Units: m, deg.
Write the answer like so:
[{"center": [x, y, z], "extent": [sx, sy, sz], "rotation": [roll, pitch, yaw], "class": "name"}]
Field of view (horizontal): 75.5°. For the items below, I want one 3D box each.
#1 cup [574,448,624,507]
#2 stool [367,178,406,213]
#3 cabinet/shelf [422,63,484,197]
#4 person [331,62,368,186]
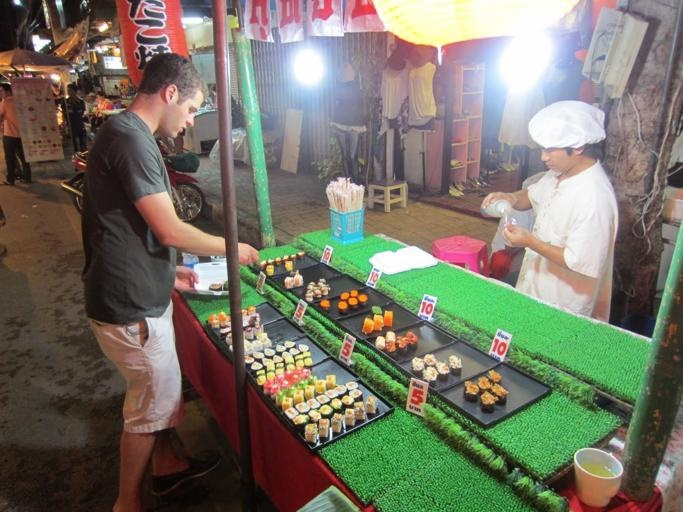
[{"center": [1.186, 1.031, 2.068], "extent": [0.199, 0.206, 0.185], "rotation": [-1, 16, 0], "class": "cup"}, {"center": [0.957, -1.297, 9.276], "extent": [0.745, 0.660, 0.756], "rotation": [3, 17, 7], "class": "stool"}, {"center": [2.378, -2.772, 9.671], "extent": [0.853, 2.721, 1.693], "rotation": [9, 19, 34], "class": "cabinet/shelf"}, {"center": [0.241, -2.561, 9.581], "extent": [0.650, 2.948, 0.771], "rotation": [-6, 21, -25], "class": "person"}]
